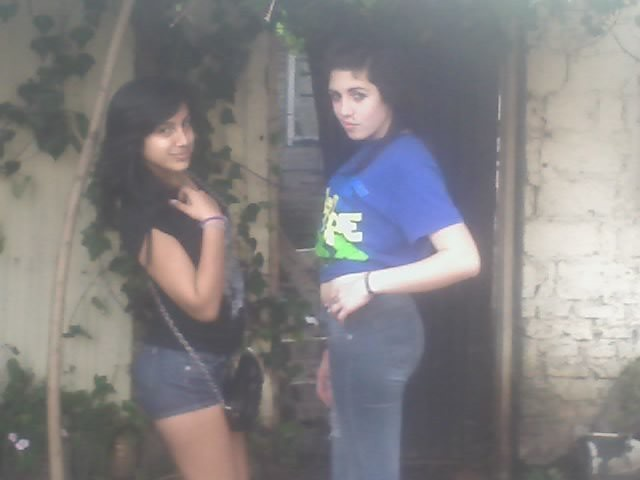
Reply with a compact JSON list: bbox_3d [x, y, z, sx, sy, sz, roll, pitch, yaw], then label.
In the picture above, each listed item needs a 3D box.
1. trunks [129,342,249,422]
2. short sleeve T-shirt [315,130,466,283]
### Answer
[{"bbox_3d":[-0.705,0.928,5.426,0.676,0.958,0.232,-17,70,16],"label":"trunks"},{"bbox_3d":[0.272,-0.281,5.279,0.531,0.888,0.887,0,29,-16],"label":"short sleeve T-shirt"}]
